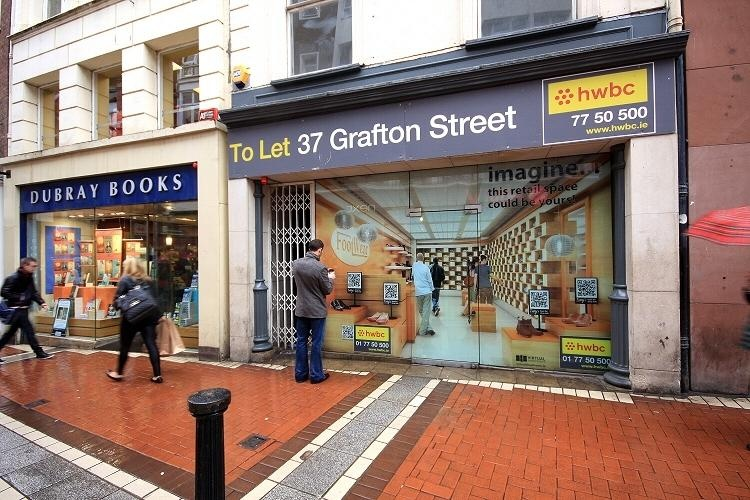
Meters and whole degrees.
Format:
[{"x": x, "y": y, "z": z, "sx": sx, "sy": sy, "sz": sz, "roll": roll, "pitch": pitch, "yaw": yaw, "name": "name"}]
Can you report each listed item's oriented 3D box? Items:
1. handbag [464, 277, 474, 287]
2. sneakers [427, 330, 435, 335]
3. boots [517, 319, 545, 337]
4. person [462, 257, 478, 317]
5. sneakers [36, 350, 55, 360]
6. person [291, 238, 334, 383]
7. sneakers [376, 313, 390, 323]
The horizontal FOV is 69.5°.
[{"x": 1.941, "y": 0.631, "z": 11.064, "sx": 0.196, "sy": 0.175, "sz": 0.157, "roll": -3, "pitch": -5, "yaw": 8, "name": "handbag"}, {"x": 1.158, "y": 1.681, "z": 11.232, "sx": 0.169, "sy": 0.111, "sz": 0.089, "roll": 3, "pitch": 4, "yaw": 13, "name": "sneakers"}, {"x": 3.032, "y": 1.532, "z": 10.774, "sx": 0.673, "sy": 0.373, "sz": 0.225, "roll": -2, "pitch": -4, "yaw": 12, "name": "boots"}, {"x": 1.957, "y": 0.710, "z": 11.202, "sx": 0.430, "sy": 1.222, "sz": 0.395, "roll": 6, "pitch": 13, "yaw": 24, "name": "person"}, {"x": -7.291, "y": 2.324, "z": 12.050, "sx": 0.407, "sy": 0.259, "sz": 0.129, "roll": 0, "pitch": -1, "yaw": -16, "name": "sneakers"}, {"x": -1.226, "y": 1.156, "z": 10.583, "sx": 0.718, "sy": 2.789, "sz": 0.723, "roll": -1, "pitch": -4, "yaw": -25, "name": "person"}, {"x": 0.158, "y": 1.418, "z": 11.468, "sx": 0.170, "sy": 0.093, "sz": 0.239, "roll": -1, "pitch": 27, "yaw": 10, "name": "sneakers"}]
